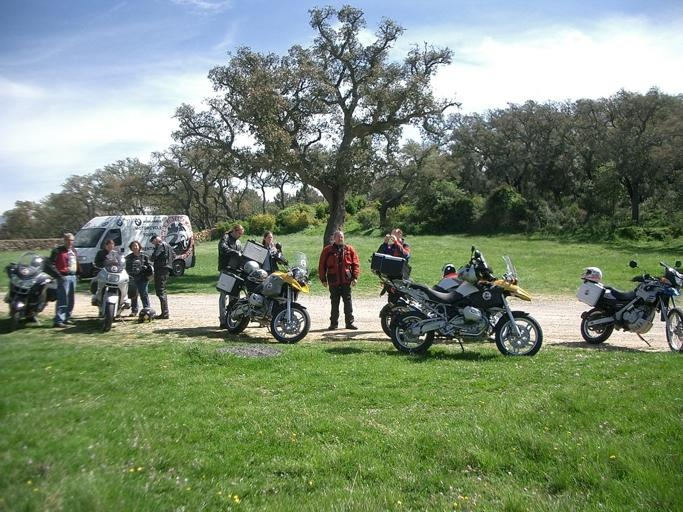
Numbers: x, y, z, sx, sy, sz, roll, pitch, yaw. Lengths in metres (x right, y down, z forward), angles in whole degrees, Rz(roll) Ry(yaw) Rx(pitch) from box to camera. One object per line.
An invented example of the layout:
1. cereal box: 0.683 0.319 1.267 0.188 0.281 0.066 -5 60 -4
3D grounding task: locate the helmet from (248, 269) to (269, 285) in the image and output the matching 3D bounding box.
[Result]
1. helmet: -1.928 0.434 12.697 0.395 0.309 0.303 -6 42 -8

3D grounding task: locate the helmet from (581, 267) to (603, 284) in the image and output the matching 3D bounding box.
1. helmet: 5.795 0.404 12.892 0.436 0.360 0.331 14 0 41

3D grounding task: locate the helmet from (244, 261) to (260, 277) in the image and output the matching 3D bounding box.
1. helmet: -2.055 0.253 12.853 0.262 0.341 0.315 33 7 11

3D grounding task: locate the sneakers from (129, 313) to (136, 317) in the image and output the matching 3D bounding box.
1. sneakers: -5.678 1.602 15.071 0.088 0.063 0.142 -5 -5 -8

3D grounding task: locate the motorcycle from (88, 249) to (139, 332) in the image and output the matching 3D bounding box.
1. motorcycle: -5.646 0.861 13.553 0.903 1.860 1.444 -5 11 -24

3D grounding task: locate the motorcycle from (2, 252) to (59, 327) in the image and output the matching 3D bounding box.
1. motorcycle: -7.536 0.850 13.268 0.841 1.770 1.325 1 11 11

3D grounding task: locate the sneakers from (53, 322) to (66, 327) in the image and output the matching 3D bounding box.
1. sneakers: -6.849 1.674 13.462 0.132 0.108 0.287 22 -19 -40

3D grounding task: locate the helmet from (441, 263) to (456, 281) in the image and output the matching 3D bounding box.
1. helmet: 2.410 0.369 12.383 0.244 0.337 0.330 4 25 -10

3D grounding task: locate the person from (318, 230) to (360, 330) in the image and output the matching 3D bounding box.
1. person: -0.072 0.586 14.063 0.975 2.576 0.908 -1 10 -1

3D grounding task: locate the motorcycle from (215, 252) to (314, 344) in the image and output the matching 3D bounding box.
1. motorcycle: -1.658 1.013 12.736 2.132 1.773 0.890 6 13 34

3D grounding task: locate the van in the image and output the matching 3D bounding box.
1. van: -9.046 -0.646 24.883 3.162 3.210 6.562 -4 -5 37
